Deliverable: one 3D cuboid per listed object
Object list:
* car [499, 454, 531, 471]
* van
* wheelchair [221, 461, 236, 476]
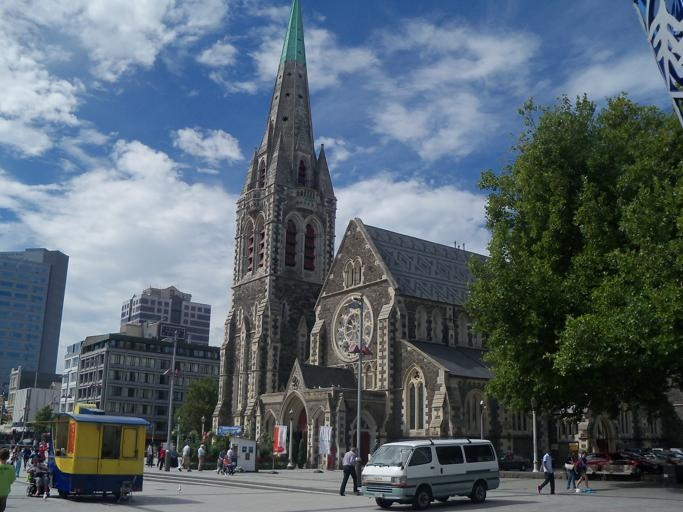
[{"bbox_3d":[12.505,15.087,52.104,1.120,0.843,2.302,-18,-34,40],"label":"car"},{"bbox_3d":[3.685,9.437,31.119,5.564,2.487,2.870,13,-24,-32],"label":"van"},{"bbox_3d":[-7.516,14.113,47.869,0.583,0.878,1.210,9,-21,-26],"label":"wheelchair"}]
